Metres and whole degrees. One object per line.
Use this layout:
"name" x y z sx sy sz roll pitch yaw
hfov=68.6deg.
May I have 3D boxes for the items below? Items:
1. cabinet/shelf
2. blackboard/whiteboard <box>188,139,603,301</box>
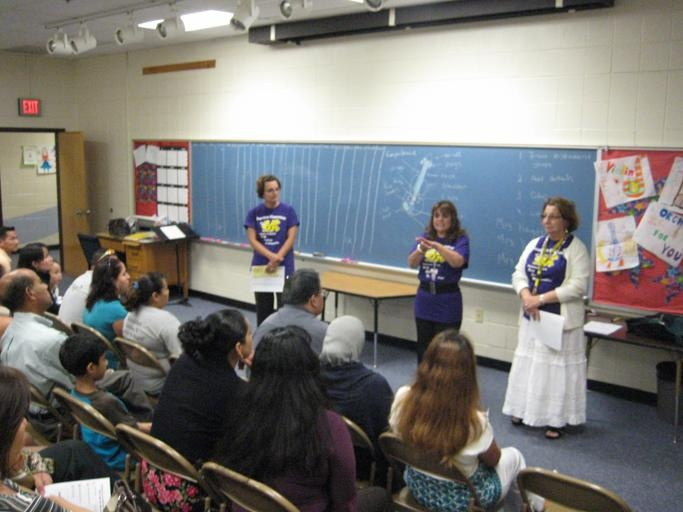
"cabinet/shelf" -3.059 0.178 7.604 1.339 0.983 0.915 10 13 40
"blackboard/whiteboard" 0.138 -0.570 5.502 4.671 1.368 0.058 6 5 25
